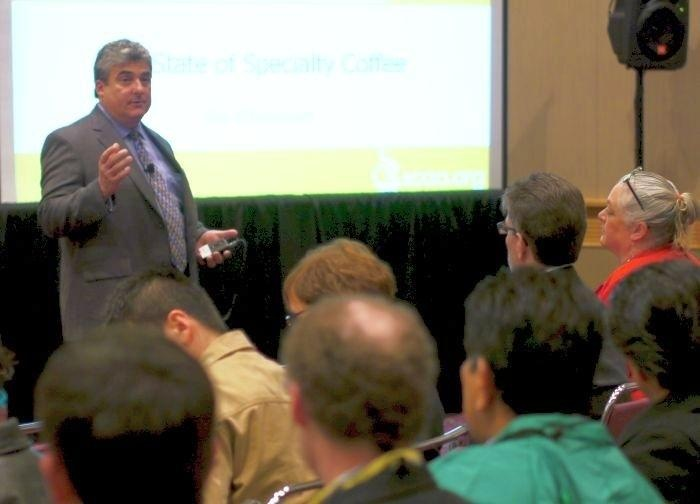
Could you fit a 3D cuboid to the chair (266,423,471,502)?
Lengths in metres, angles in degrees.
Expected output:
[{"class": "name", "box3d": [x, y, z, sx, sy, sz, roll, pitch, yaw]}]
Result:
[{"class": "chair", "box3d": [0.087, 0.587, 2.553, 0.725, 0.139, 0.207, -6, 2, -31]}]

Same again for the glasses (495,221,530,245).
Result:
[{"class": "glasses", "box3d": [0.620, -0.081, 3.521, 0.088, 0.029, 0.089, 28, 8, 20]}]

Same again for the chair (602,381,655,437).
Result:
[{"class": "chair", "box3d": [0.801, 0.460, 2.615, 0.104, 0.126, 0.185, -15, -45, 8]}]
